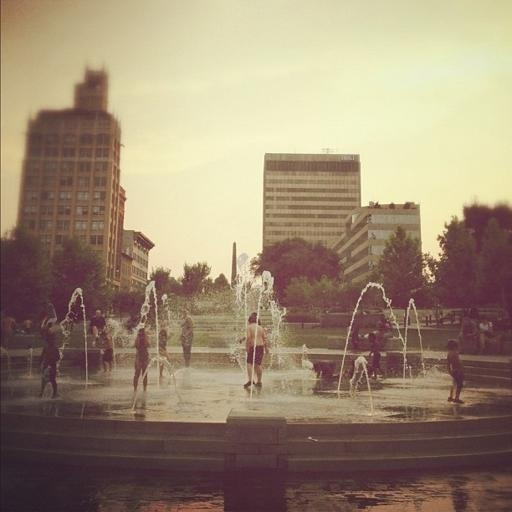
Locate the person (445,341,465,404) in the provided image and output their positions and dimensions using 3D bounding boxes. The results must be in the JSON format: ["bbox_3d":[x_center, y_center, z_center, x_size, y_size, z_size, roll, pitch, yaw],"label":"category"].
[{"bbox_3d":[4.442,2.529,14.062,0.300,1.442,1.823,0,-1,18],"label":"person"}]

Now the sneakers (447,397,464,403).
[{"bbox_3d":[4.260,3.087,13.441,0.327,0.192,0.127,-5,2,4],"label":"sneakers"}]

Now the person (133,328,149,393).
[{"bbox_3d":[-2.544,2.356,14.026,0.300,1.614,2.288,1,-1,-11],"label":"person"}]
